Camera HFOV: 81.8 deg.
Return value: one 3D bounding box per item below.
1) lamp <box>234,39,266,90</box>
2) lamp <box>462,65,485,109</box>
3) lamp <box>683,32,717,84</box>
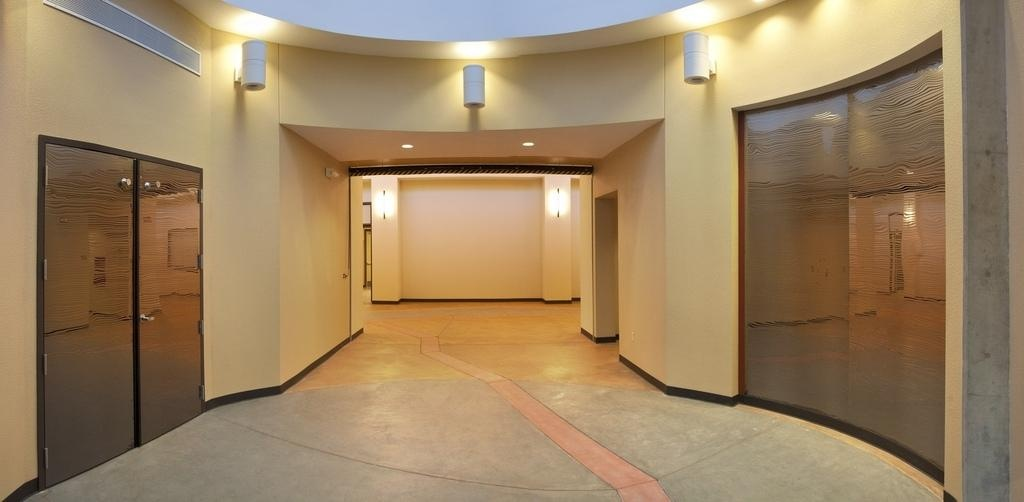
[{"bbox_3d":[-4.093,-2.932,9.260,0.373,0.758,0.291,-3,8,-13],"label":"lamp"},{"bbox_3d":[-0.645,-2.756,9.843,0.336,0.665,0.222,-2,8,-8],"label":"lamp"},{"bbox_3d":[2.931,-2.992,9.187,0.426,0.738,0.506,1,8,19],"label":"lamp"}]
